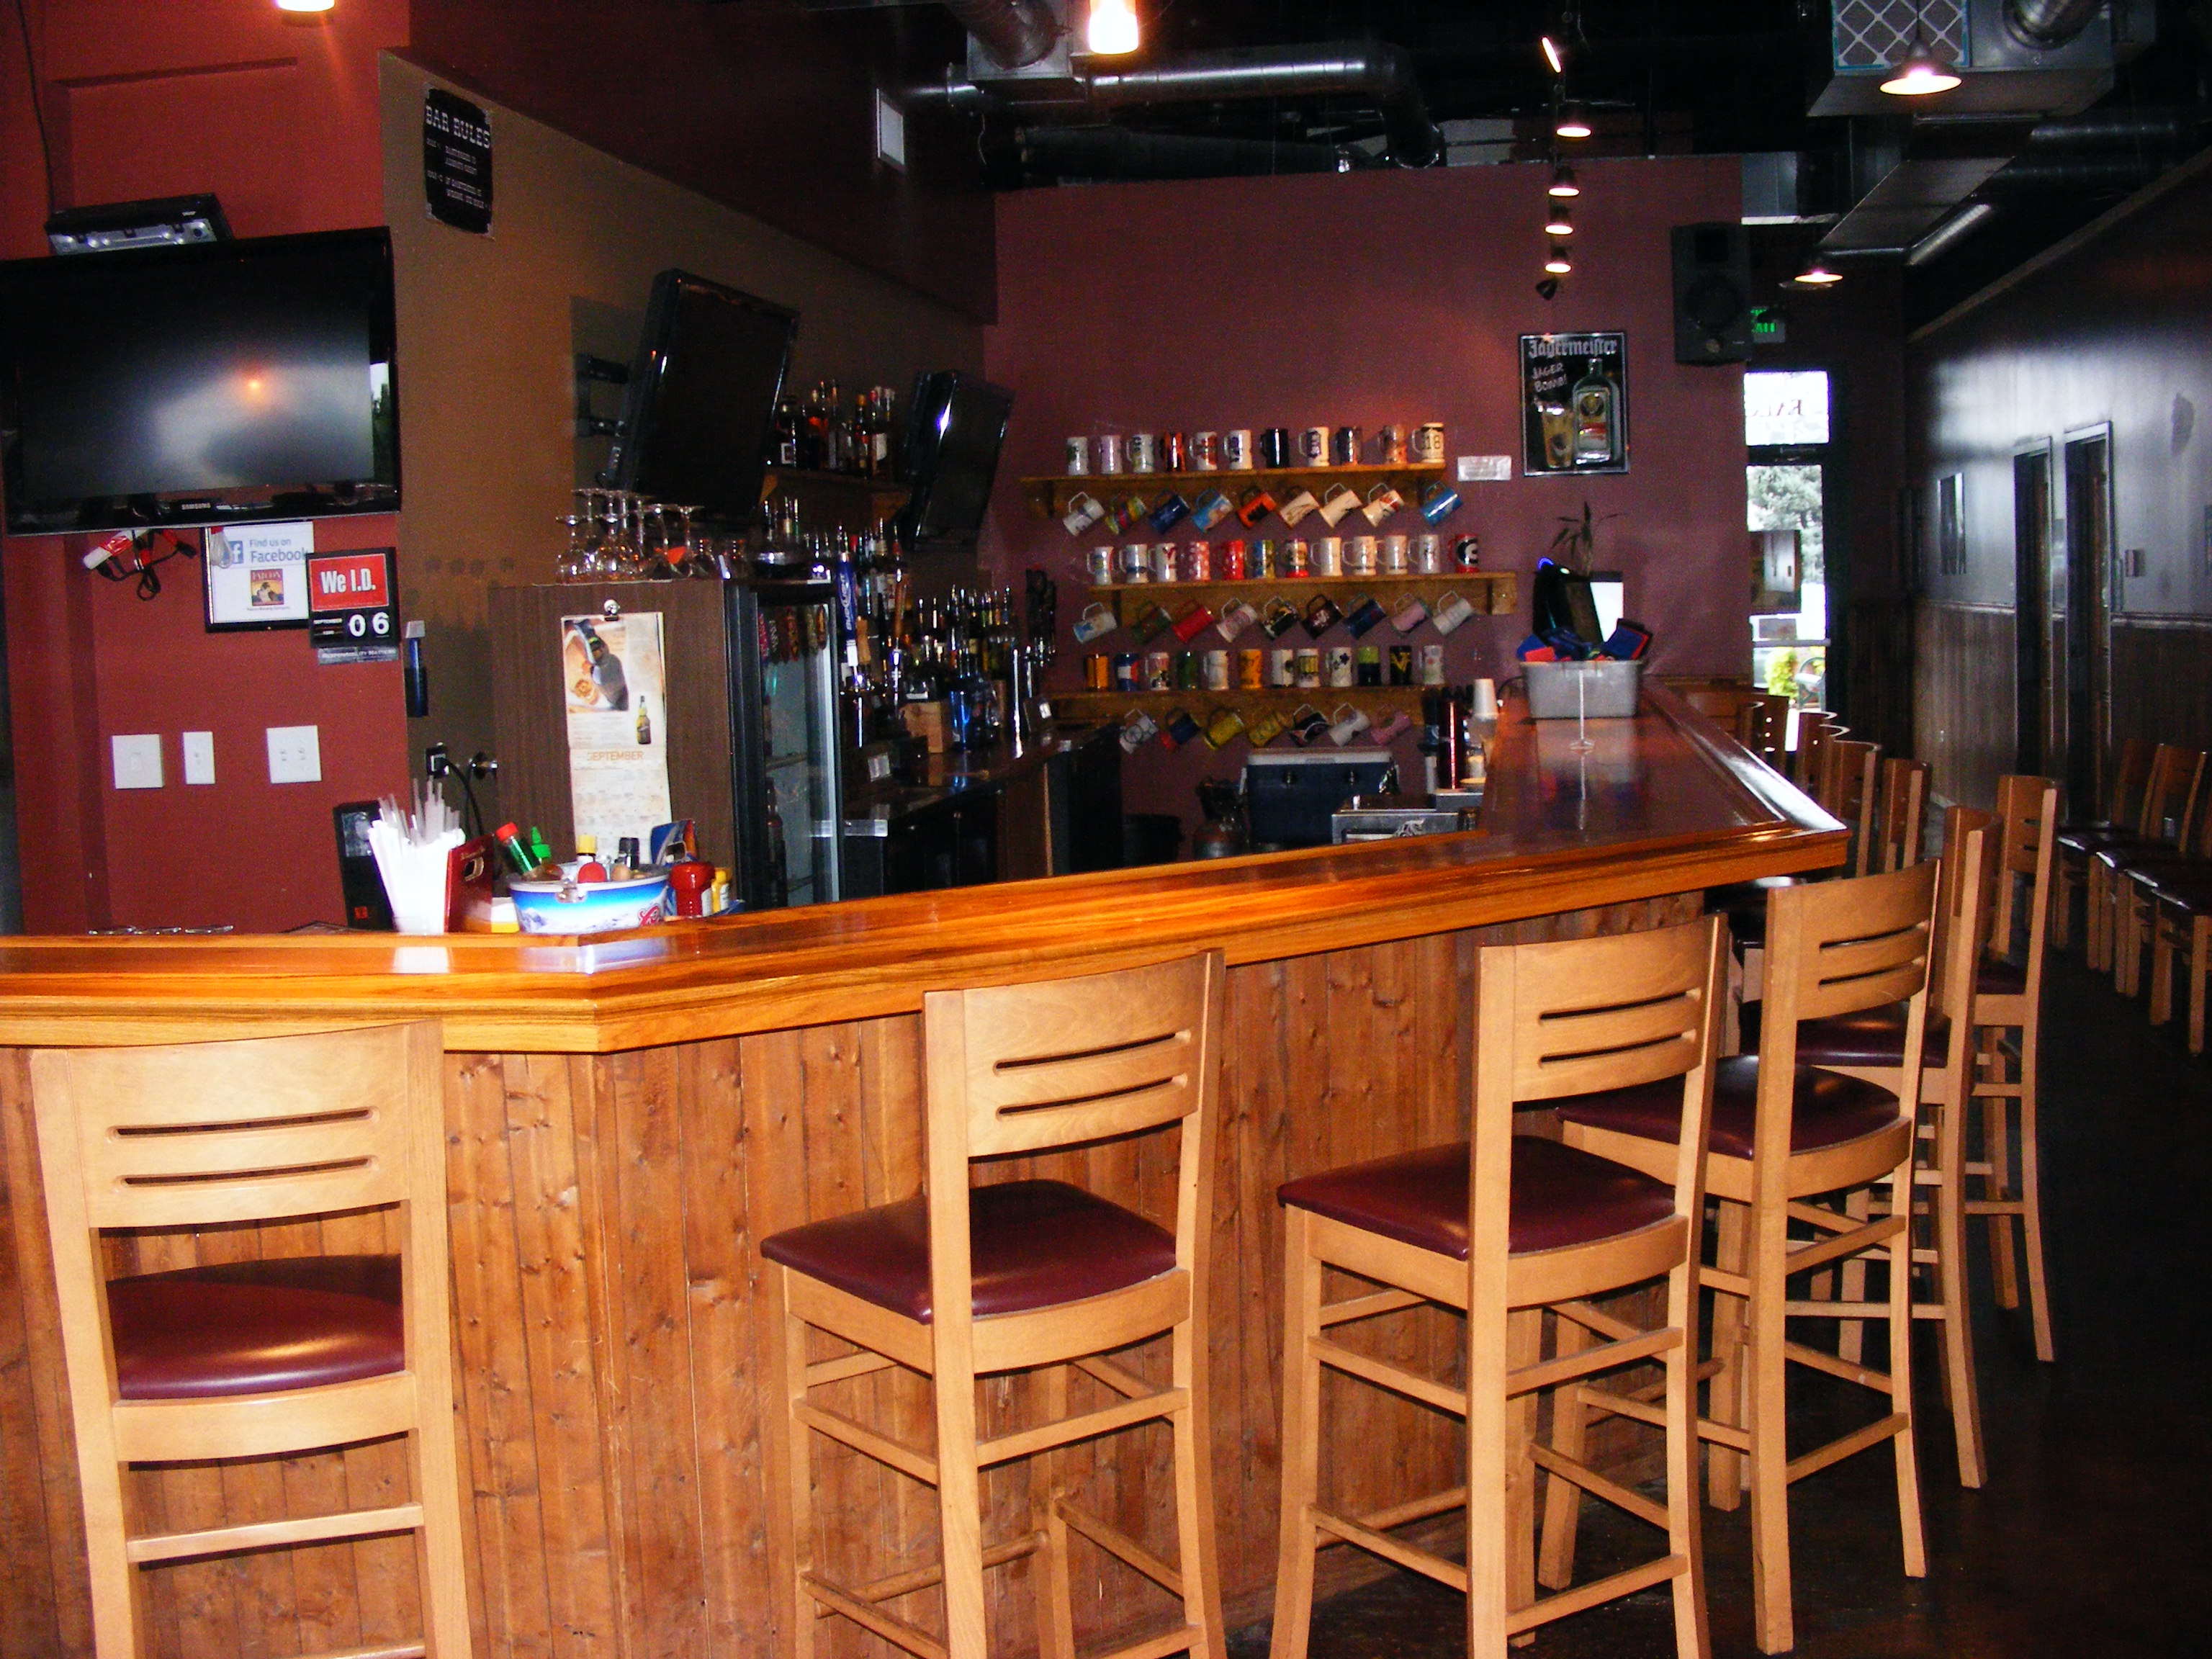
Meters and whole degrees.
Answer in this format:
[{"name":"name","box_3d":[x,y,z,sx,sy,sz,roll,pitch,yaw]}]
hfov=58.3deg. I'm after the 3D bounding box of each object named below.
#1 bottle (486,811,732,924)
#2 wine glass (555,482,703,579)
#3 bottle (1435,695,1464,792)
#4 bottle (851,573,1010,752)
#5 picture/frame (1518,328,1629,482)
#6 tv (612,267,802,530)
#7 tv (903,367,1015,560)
[{"name":"bottle","box_3d":[-0.913,0.101,3.846,0.244,0.172,0.346,-2,-2,25]},{"name":"wine glass","box_3d":[-1.479,-0.908,6.232,0.280,0.169,0.399,2,1,5]},{"name":"bottle","box_3d":[1.273,-0.334,7.463,0.102,0.334,0.168,-2,8,11]},{"name":"bottle","box_3d":[-0.741,-0.708,8.193,0.278,0.452,1.102,1,5,12]},{"name":"picture/frame","box_3d":[2.321,-2.174,10.050,0.714,0.978,0.099,0,1,1]},{"name":"tv","box_3d":[-1.248,-1.353,6.327,0.108,0.740,0.963,18,13,11]},{"name":"tv","box_3d":[-0.687,-1.627,8.890,0.250,0.795,0.928,9,9,12]}]
